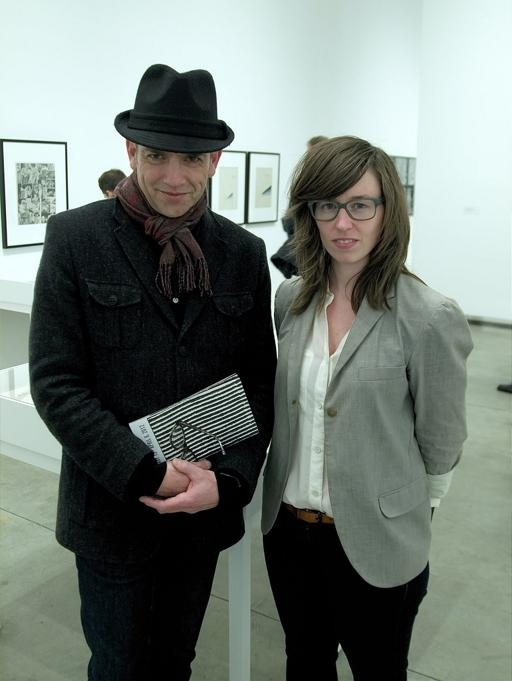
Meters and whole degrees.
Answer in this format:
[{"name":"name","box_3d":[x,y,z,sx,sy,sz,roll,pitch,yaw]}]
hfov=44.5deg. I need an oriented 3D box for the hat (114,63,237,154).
[{"name":"hat","box_3d":[-0.166,-0.466,1.290,0.198,0.107,0.248,2,22,-16]}]
